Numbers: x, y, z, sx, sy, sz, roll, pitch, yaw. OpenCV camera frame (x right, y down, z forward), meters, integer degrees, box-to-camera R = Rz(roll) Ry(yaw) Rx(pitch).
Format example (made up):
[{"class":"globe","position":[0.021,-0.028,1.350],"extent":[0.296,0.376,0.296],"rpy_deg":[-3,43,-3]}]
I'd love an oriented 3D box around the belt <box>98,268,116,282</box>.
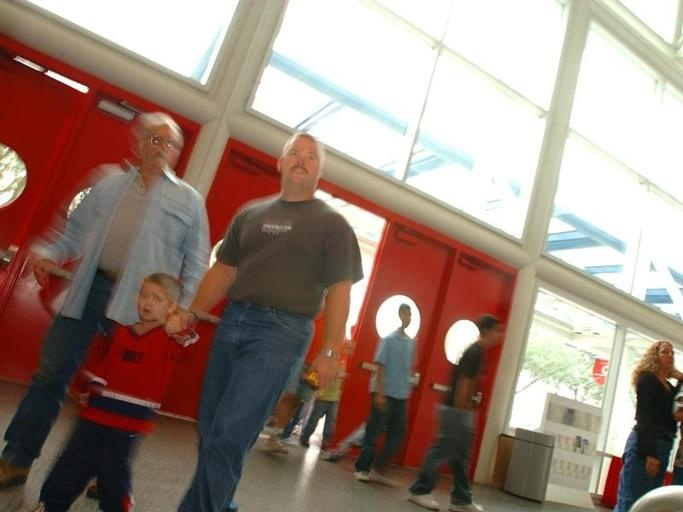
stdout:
[{"class":"belt","position":[-1.221,0.098,2.660],"extent":[0.094,0.056,0.026],"rpy_deg":[22,-20,-10]}]

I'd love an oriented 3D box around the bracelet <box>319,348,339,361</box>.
[{"class":"bracelet","position":[-0.054,0.454,2.346],"extent":[0.059,0.042,0.062],"rpy_deg":[4,-12,16]}]

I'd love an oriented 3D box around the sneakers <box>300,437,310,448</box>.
[{"class":"sneakers","position":[-0.398,2.063,5.600],"extent":[0.103,0.141,0.064],"rpy_deg":[-20,-29,40]}]
